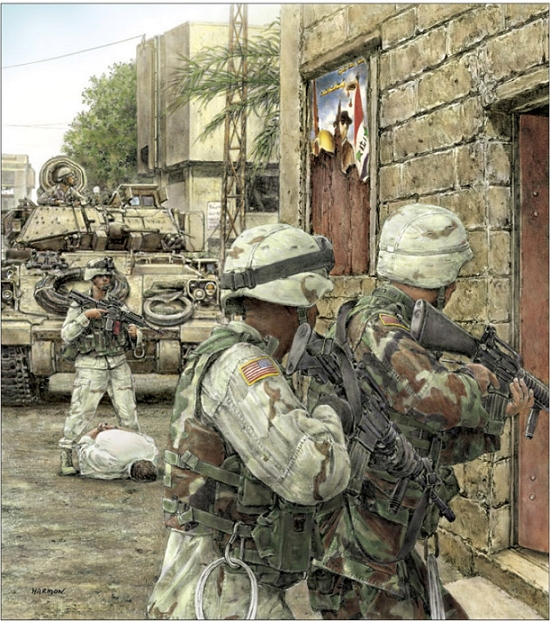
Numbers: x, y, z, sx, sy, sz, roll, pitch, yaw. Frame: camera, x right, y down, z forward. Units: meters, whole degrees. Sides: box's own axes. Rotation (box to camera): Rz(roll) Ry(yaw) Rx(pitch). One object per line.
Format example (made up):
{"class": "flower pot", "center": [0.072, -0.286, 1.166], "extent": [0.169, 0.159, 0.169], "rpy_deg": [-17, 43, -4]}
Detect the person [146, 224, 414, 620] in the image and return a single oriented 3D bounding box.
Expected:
{"class": "person", "center": [-0.082, 0.359, 2.562], "extent": [0.662, 1.325, 0.651], "rpy_deg": [0, 3, 6]}

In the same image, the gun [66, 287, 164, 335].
{"class": "gun", "center": [-1.855, 0.019, 8.762], "extent": [0.801, 0.369, 0.166], "rpy_deg": [29, -12, 1]}

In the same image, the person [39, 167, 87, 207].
{"class": "person", "center": [-3.658, -2.158, 13.087], "extent": [0.770, 0.689, 0.850], "rpy_deg": [-2, 4, -38]}

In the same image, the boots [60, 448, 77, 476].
{"class": "boots", "center": [-2.022, 1.481, 7.474], "extent": [0.161, 0.248, 0.274], "rpy_deg": [-1, 3, -17]}
